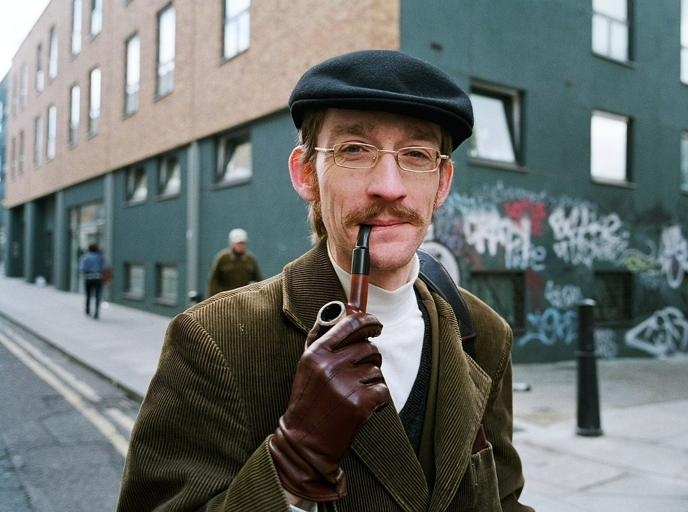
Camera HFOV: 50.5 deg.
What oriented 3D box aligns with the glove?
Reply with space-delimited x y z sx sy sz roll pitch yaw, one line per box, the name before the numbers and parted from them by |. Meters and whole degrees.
glove | -0.036 0.372 1.802 0.297 0.453 0.089 1 -4 -7
